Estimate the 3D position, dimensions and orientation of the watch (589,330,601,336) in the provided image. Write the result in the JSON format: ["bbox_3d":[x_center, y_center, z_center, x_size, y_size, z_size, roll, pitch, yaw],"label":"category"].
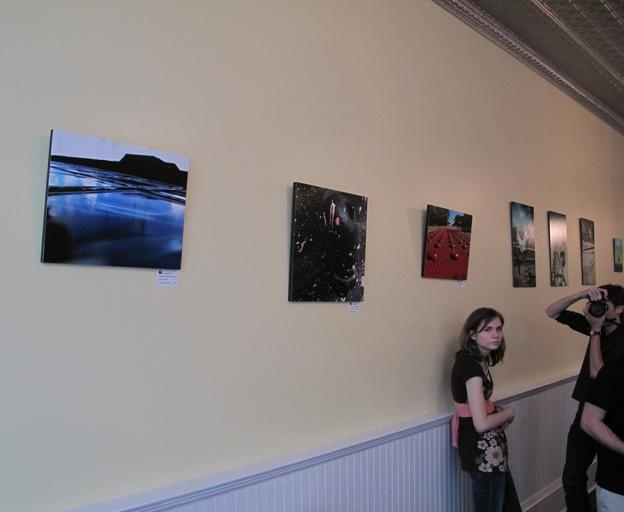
[{"bbox_3d":[2.157,0.589,3.666,0.046,0.037,0.055,0,-1,-32],"label":"watch"}]

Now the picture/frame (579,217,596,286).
[{"bbox_3d":[3.153,-0.035,5.532,0.042,1.038,0.647,-4,-6,34],"label":"picture/frame"}]

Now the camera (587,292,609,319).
[{"bbox_3d":[2.147,0.378,3.610,0.137,0.228,0.110,2,-12,23],"label":"camera"}]

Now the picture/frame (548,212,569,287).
[{"bbox_3d":[2.564,-0.059,5.037,0.013,1.056,0.656,-3,-4,35],"label":"picture/frame"}]

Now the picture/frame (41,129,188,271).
[{"bbox_3d":[-0.956,-0.256,2.261,0.562,0.635,0.040,4,-4,-39],"label":"picture/frame"}]

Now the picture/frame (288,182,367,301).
[{"bbox_3d":[0.075,-0.079,2.926,0.591,0.793,0.070,6,-6,-44],"label":"picture/frame"}]
